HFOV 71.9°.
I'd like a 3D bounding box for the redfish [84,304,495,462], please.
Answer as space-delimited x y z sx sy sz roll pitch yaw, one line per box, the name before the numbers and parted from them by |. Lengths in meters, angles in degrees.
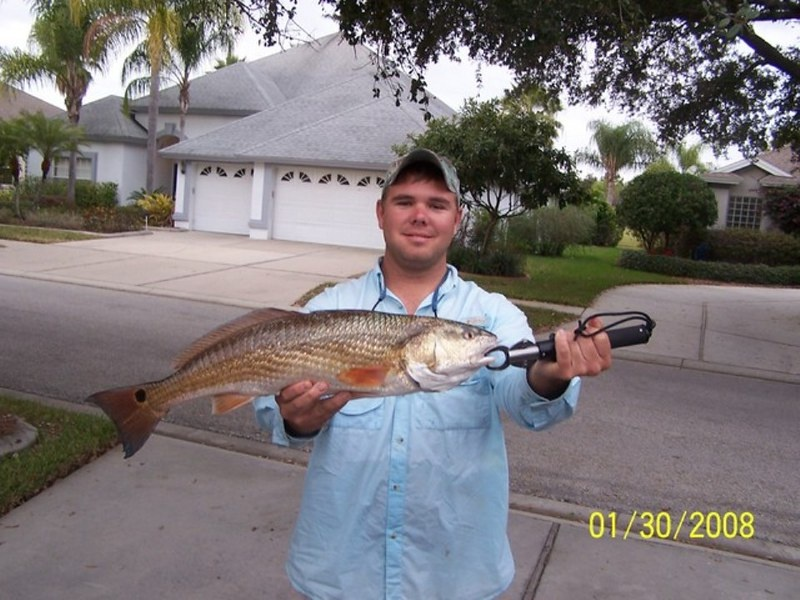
redfish | -0.416 0.351 2.229 1.546 0.646 0.121 4 5 7
